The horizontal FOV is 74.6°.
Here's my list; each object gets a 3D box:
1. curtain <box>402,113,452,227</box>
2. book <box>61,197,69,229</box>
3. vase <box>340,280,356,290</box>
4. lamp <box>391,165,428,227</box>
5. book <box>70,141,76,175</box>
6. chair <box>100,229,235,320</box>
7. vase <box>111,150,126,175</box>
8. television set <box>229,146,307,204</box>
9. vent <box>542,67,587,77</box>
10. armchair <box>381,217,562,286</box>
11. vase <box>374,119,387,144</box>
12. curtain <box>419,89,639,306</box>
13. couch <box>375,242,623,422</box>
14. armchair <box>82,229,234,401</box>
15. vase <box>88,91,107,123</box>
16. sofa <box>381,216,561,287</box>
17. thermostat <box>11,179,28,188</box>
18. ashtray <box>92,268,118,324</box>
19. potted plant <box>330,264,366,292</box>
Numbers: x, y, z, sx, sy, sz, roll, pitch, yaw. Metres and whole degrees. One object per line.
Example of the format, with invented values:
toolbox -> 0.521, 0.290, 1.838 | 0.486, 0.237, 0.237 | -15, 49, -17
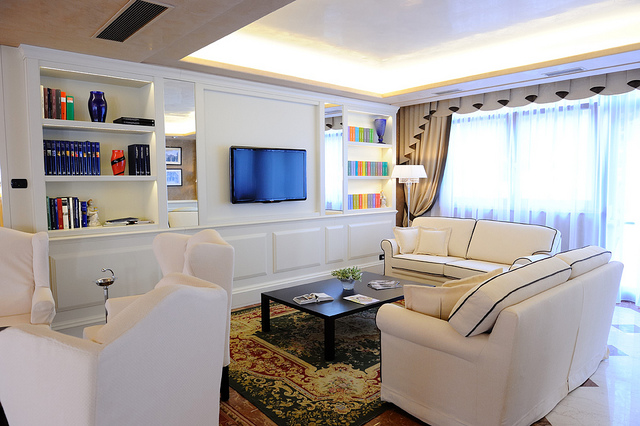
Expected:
curtain -> 1.937, -0.764, 7.382 | 0.394, 1.797, 0.785 | 0, 5, -23
book -> -2.792, 0.005, 4.595 | 0.058, 0.330, 0.100 | -6, 15, -22
vase -> 0.338, 0.835, 4.876 | 0.112, 0.075, 0.110 | 2, -4, -31
lamp -> 1.502, -0.338, 7.078 | 0.588, 1.150, 0.521 | 0, 6, 6
book -> -2.726, -0.605, 4.621 | 0.040, 0.345, 0.085 | -4, 15, -16
chair -> -1.362, 0.381, 3.704 | 0.934, 1.172, 1.024 | 0, 1, -35
vase -> -2.365, -0.586, 4.902 | 0.132, 0.277, 0.067 | -7, 16, -26
television set -> -0.708, -0.508, 5.933 | 1.302, 0.828, 0.126 | -5, 10, -41
vent -> 3.183, -1.820, 5.433 | 0.481, 0.073, 0.313 | 7, 14, 28
armchair -> 2.013, 0.606, 5.908 | 0.984, 0.978, 2.306 | -5, 7, -42
vase -> 1.103, -1.435, 7.409 | 0.266, 0.419, 0.259 | -4, 15, -18
curtain -> 2.922, -0.278, 5.624 | 3.139, 2.951, 0.312 | 3, 1, 40
couch -> 1.610, 1.021, 3.599 | 2.024, 1.232, 0.891 | -6, 15, -26
armchair -> -1.340, 0.764, 3.790 | 1.188, 1.542, 1.425 | 2, 2, -28
vase -> -2.517, -1.194, 4.730 | 0.183, 0.344, 0.266 | -7, 15, -27
sofa -> 2.026, 0.609, 5.957 | 0.957, 0.984, 2.262 | -7, 8, -40
thermostat -> -3.164, -0.308, 4.403 | 0.164, 0.109, 0.087 | 0, -1, -32
ashtray -> -2.232, 0.846, 4.318 | 0.202, 0.614, 0.236 | -2, 12, -37
potted plant -> 0.341, 0.766, 4.980 | 0.372, 0.242, 0.360 | -3, -2, 9
